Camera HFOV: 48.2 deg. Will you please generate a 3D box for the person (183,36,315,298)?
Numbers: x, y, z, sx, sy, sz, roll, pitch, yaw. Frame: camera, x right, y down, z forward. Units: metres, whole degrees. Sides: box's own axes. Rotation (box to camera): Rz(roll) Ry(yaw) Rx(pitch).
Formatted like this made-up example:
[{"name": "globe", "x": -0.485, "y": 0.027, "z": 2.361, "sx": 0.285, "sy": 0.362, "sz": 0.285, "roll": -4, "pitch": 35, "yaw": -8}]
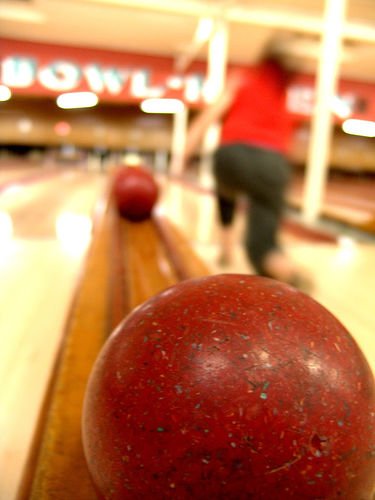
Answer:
[{"name": "person", "x": 0.223, "y": -0.257, "z": 1.438, "sx": 0.342, "sy": 0.711, "sz": 0.524, "roll": 5, "pitch": 9, "yaw": -18}]
